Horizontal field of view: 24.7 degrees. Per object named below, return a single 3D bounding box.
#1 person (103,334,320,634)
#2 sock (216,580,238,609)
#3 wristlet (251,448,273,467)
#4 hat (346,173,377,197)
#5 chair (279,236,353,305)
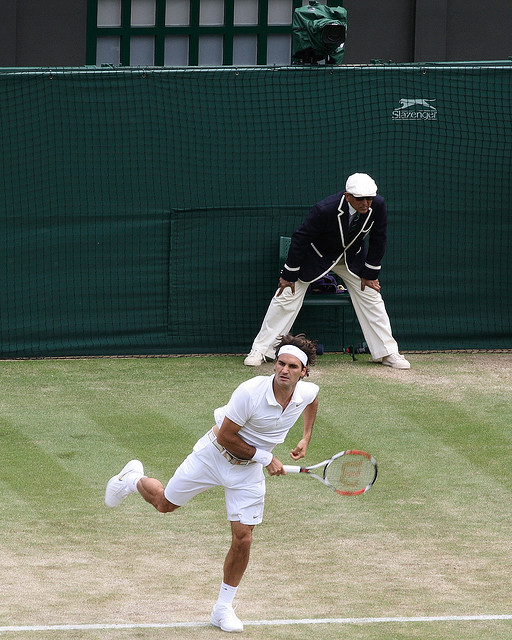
[{"bbox_3d":[-0.212,0.880,6.704,1.043,1.504,1.011,2,14,1],"label":"person"},{"bbox_3d":[-0.169,1.536,6.507,0.099,0.151,0.140,3,14,4],"label":"sock"},{"bbox_3d":[0.029,0.772,6.618,0.088,0.090,0.109,13,-36,-1],"label":"wristlet"},{"bbox_3d":[1.000,-1.302,11.264,0.272,0.198,0.328,0,14,-6],"label":"hat"},{"bbox_3d":[0.803,-0.565,12.532,0.790,0.809,0.917,1,17,13],"label":"chair"}]
